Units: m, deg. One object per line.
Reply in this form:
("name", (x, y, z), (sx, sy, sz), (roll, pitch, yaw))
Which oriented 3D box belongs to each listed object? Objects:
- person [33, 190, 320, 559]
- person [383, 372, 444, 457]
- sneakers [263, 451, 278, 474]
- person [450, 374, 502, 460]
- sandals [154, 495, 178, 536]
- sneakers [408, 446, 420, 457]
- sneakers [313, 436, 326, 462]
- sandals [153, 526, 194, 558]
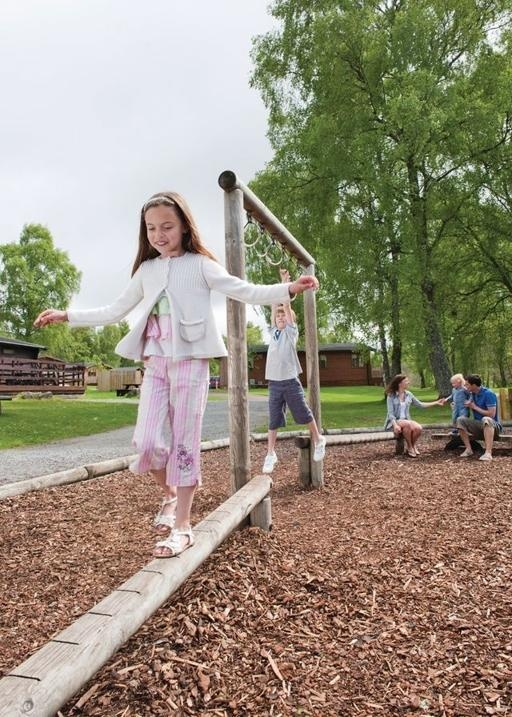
("person", (-0.388, 0.066, 2.643), (1.060, 1.766, 0.679), (0, 0, 40))
("person", (3.099, 1.049, 10.407), (1.256, 1.582, 0.949), (3, -9, -30))
("sneakers", (0.152, 1.065, 5.683), (0.122, 0.154, 0.357), (-2, 13, 12))
("person", (2.782, 0.697, 6.641), (0.533, 0.991, 0.626), (-3, -6, 12))
("sandals", (-0.533, 0.904, 3.135), (0.132, 0.124, 0.353), (-2, -11, 1))
("sneakers", (2.028, 1.209, 6.945), (0.134, 0.075, 0.217), (-3, -1, -17))
("sneakers", (0.594, 0.837, 5.114), (0.093, 0.269, 0.108), (-13, -48, 34))
("sandals", (-0.360, 0.786, 2.296), (0.093, 0.078, 0.200), (-4, -11, 18))
